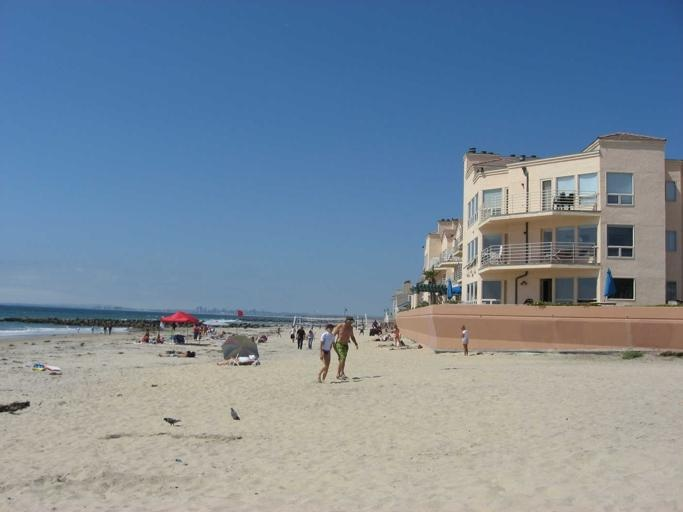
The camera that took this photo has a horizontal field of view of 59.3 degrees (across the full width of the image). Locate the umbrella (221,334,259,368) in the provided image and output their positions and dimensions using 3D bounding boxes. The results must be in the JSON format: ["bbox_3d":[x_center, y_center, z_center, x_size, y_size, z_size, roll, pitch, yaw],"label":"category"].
[{"bbox_3d":[-4.792,4.362,27.611,1.562,1.296,1.004,-1,-10,-36],"label":"umbrella"}]

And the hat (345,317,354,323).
[{"bbox_3d":[0.266,2.102,19.681,0.280,0.218,0.203,0,-1,-19],"label":"hat"}]
